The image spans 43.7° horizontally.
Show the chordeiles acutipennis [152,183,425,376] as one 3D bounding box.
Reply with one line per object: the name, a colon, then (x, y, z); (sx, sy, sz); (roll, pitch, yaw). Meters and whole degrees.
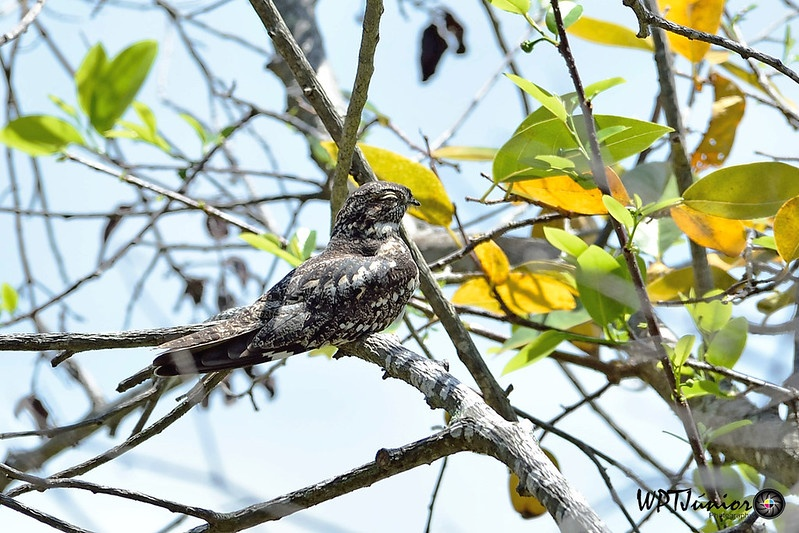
chordeiles acutipennis: (-0.857, 0.192, 5.791); (1.953, 1.070, 0.764); (-9, -18, -7)
